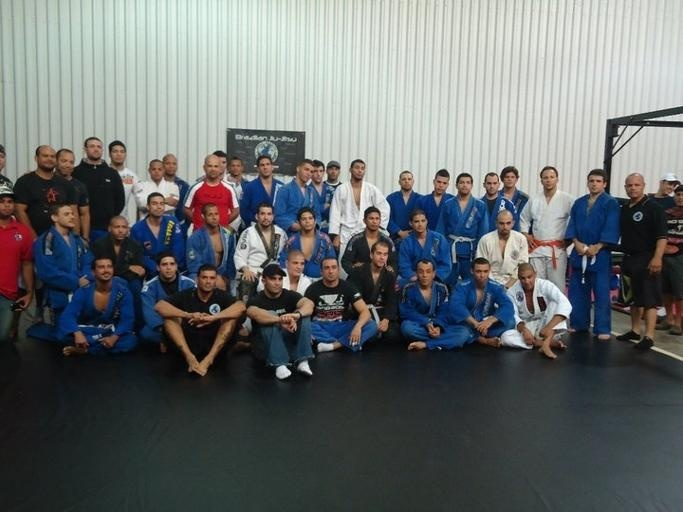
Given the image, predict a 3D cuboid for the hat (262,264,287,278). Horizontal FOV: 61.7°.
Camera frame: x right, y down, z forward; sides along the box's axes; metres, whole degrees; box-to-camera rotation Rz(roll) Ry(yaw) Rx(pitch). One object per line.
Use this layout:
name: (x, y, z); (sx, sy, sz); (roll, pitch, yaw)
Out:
hat: (-0.612, 0.115, 5.079); (0.117, 0.100, 0.156); (3, -13, -40)
